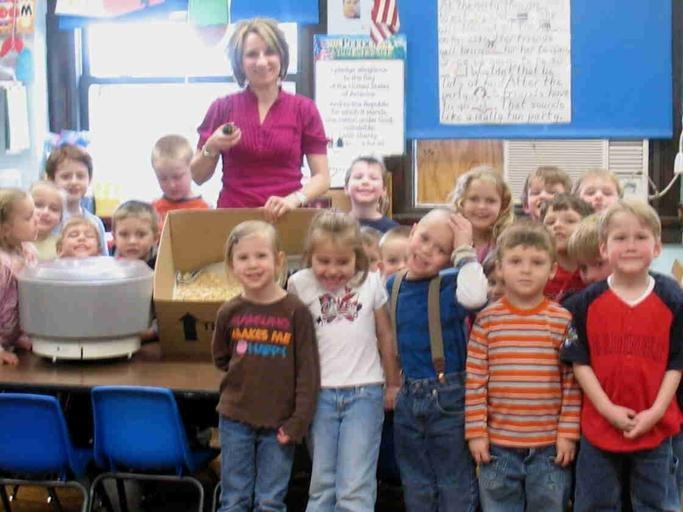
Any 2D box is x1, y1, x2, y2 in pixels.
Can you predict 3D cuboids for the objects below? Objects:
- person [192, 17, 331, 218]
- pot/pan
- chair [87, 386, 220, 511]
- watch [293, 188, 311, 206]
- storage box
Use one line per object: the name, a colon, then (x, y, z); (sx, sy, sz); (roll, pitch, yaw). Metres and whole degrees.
person: (-0.385, -0.379, 4.245); (0.650, 1.458, 0.510); (1, 8, 1)
pot/pan: (-1.101, 0.233, 3.863); (0.480, 0.333, 0.457); (-1, 4, -28)
chair: (-0.787, 0.780, 3.889); (0.524, 0.699, 0.533); (1, 1, 7)
watch: (-0.181, -0.275, 4.100); (0.056, 0.079, 0.028); (27, 60, 32)
storage box: (-0.575, 0.066, 4.309); (0.892, 0.535, 0.688); (1, 8, 21)
